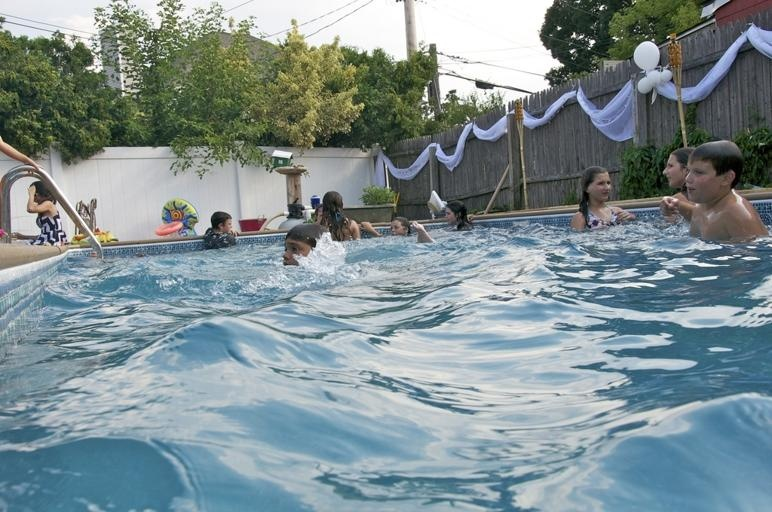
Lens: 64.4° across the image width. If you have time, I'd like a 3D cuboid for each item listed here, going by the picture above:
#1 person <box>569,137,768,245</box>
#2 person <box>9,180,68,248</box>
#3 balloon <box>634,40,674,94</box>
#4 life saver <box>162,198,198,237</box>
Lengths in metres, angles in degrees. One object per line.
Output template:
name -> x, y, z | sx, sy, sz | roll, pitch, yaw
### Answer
person -> 2.143, -0.447, 4.094 | 0.474, 0.651, 1.105 | 0, 13, 8
person -> -4.006, -0.444, 7.097 | 0.575, 0.738, 0.546 | 0, 5, 19
balloon -> 3.640, -2.544, 8.339 | 0.478, 0.669, 0.728 | 4, 14, 23
life saver -> -4.369, -0.741, 13.117 | 0.821, 0.932, 0.485 | -2, 8, 10
